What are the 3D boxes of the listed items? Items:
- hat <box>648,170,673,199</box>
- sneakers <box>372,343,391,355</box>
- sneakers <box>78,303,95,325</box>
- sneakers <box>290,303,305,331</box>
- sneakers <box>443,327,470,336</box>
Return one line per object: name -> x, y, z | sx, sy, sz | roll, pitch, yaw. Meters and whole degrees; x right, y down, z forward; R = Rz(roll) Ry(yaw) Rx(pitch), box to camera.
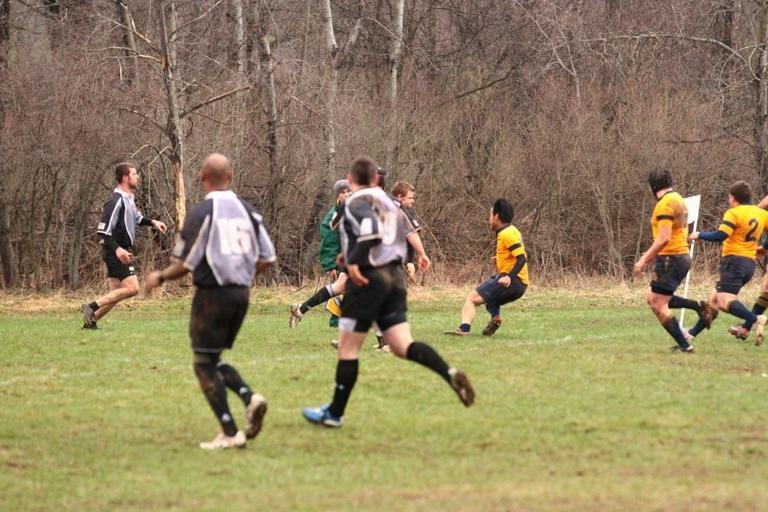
hat -> 5.348, -1.460, 20.694 | 0.469, 0.594, 0.603 | 1, 13, 8
sneakers -> -0.060, 1.841, 20.673 | 0.297, 0.148, 0.391 | -1, -7, 32
sneakers -> -6.129, 1.231, 21.934 | 0.296, 0.561, 0.210 | -7, 6, -1
sneakers -> -1.774, 1.205, 21.322 | 0.305, 0.607, 0.226 | 3, 11, -5
sneakers -> 1.488, 1.562, 21.983 | 0.533, 0.216, 0.192 | 3, -1, 11
